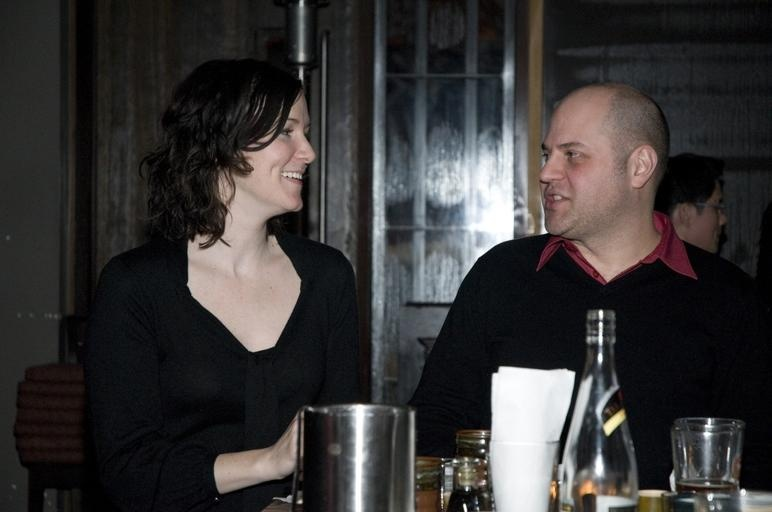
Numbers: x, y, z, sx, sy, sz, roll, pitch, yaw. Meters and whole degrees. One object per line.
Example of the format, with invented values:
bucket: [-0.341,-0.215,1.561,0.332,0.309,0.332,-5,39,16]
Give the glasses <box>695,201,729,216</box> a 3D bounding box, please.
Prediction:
glasses: [1.798,-0.269,4.694,0.112,0.035,0.115,2,-6,-24]
